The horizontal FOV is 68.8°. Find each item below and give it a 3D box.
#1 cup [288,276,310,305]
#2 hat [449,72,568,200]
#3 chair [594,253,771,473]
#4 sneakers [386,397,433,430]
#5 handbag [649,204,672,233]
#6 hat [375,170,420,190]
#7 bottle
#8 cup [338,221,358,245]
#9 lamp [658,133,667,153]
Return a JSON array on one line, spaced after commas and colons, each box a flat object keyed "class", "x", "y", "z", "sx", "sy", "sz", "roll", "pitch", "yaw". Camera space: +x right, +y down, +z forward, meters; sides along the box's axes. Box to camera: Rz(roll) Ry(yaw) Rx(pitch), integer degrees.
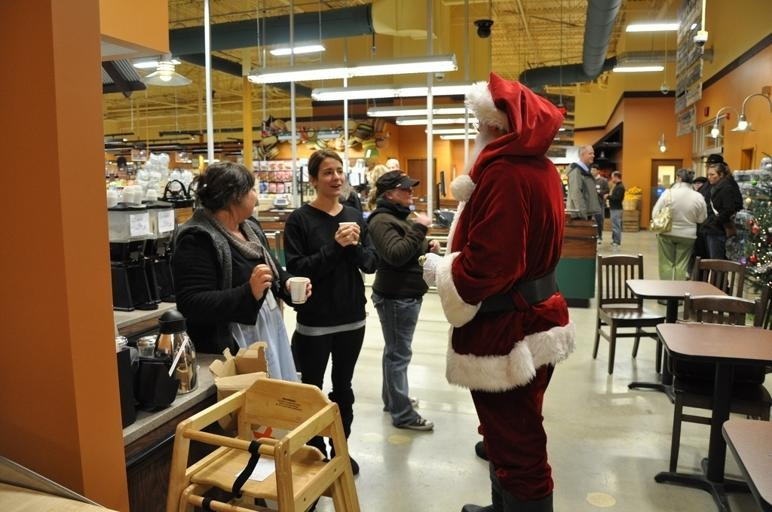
[{"class": "cup", "x": -0.455, "y": 0.176, "z": 2.929, "sx": 0.126, "sy": 0.128, "sz": 0.127, "roll": 1, "pitch": 3, "yaw": 0}, {"class": "hat", "x": 0.598, "y": -0.574, "z": 2.684, "sx": 0.457, "sy": 0.469, "sz": 0.515, "roll": -5, "pitch": 20, "yaw": -39}, {"class": "chair", "x": 2.217, "y": 0.825, "z": 4.268, "sx": 0.748, "sy": 0.671, "sz": 1.377, "roll": 0, "pitch": 8, "yaw": 4}, {"class": "sneakers", "x": 0.142, "y": 1.217, "z": 4.359, "sx": 0.410, "sy": 0.274, "sz": 0.159, "roll": 0, "pitch": 2, "yaw": -5}, {"class": "handbag", "x": 3.688, "y": -0.484, "z": 7.525, "sx": 0.324, "sy": 0.356, "sz": 0.160, "roll": -2, "pitch": 11, "yaw": -13}, {"class": "hat", "x": 0.066, "y": -0.528, "z": 4.040, "sx": 0.242, "sy": 0.121, "sz": 0.158, "roll": -7, "pitch": 8, "yaw": 1}, {"class": "bottle", "x": -0.954, "y": 0.470, "z": 2.403, "sx": 0.262, "sy": 0.353, "sz": 0.455, "roll": 5, "pitch": 16, "yaw": 16}, {"class": "cup", "x": -0.221, "y": -0.126, "z": 3.285, "sx": 0.124, "sy": 0.092, "sz": 0.122, "roll": 0, "pitch": 3, "yaw": 0}, {"class": "lamp", "x": 9.369, "y": -3.775, "z": 19.012, "sx": 0.243, "sy": 0.834, "sz": 0.302, "roll": 2, "pitch": -23, "yaw": 18}]
